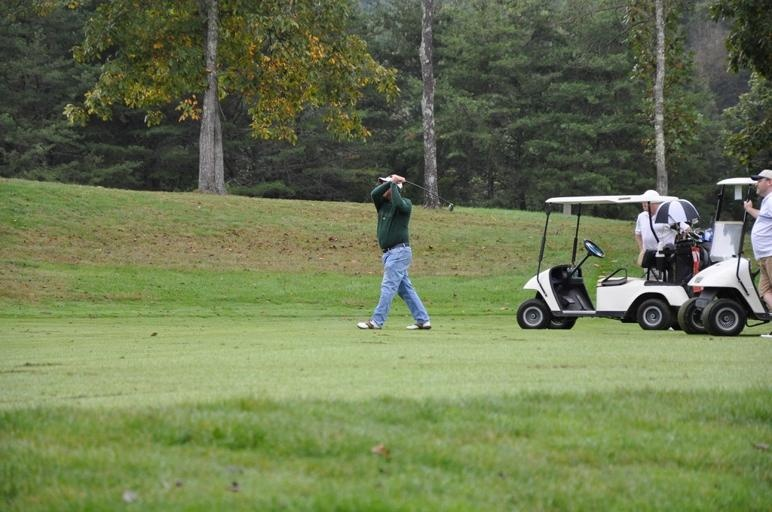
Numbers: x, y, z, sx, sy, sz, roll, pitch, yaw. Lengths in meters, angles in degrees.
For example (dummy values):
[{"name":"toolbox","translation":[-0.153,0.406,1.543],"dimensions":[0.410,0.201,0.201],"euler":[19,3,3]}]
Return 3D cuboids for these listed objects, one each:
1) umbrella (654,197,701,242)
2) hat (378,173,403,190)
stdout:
[{"name":"umbrella","translation":[10.684,-1.357,50.610],"dimensions":[1.268,0.896,1.302],"euler":[-7,21,-11]},{"name":"hat","translation":[0.226,-2.748,49.353],"dimensions":[0.802,0.294,0.467],"euler":[22,-14,-40]}]
